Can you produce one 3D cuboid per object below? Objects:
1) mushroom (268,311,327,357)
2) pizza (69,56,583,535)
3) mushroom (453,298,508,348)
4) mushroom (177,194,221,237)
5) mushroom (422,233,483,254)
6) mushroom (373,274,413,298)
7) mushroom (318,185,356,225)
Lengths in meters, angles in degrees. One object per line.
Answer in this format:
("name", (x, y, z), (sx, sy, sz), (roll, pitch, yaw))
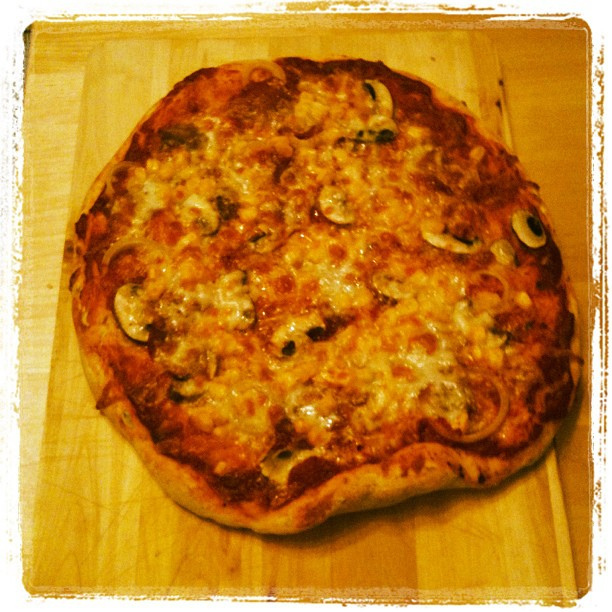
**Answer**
("mushroom", (-0.027, 0.085, 2.607), (0.184, 0.047, 0.091), (-28, 62, -17))
("pizza", (0.048, 0.022, 2.685), (1.549, 0.248, 1.331), (0, 73, -2))
("mushroom", (0.526, 0.055, 2.632), (0.108, 0.066, 0.176), (-39, 65, -21))
("mushroom", (-0.337, -0.287, 2.699), (0.139, 0.037, 0.118), (-6, 81, -5))
("mushroom", (0.460, -0.196, 2.684), (0.137, 0.077, 0.028), (13, 100, -3))
("mushroom", (0.267, -0.060, 2.643), (0.127, 0.025, 0.062), (9, 58, 6))
("mushroom", (0.094, -0.318, 2.737), (0.118, 0.164, 0.041), (-46, 72, 2))
